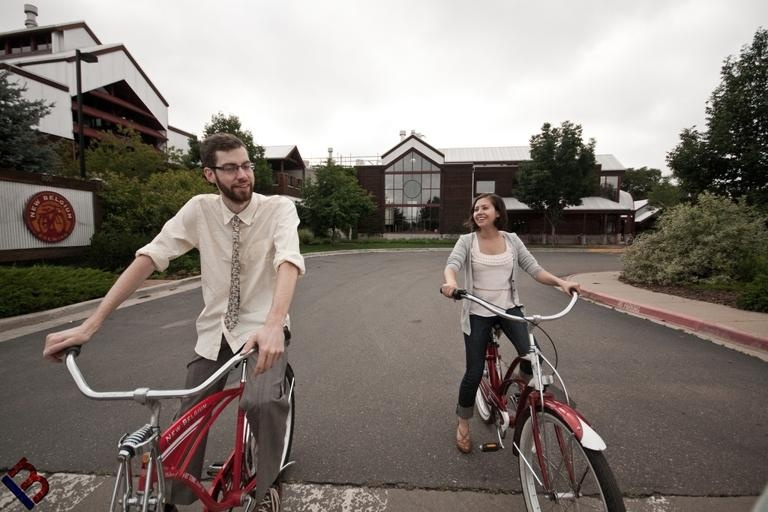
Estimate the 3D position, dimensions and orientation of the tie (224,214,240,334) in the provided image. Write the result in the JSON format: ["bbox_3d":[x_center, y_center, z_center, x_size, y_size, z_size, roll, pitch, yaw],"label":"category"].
[{"bbox_3d":[-1.839,0.199,6.068,0.182,1.400,0.074,1,-5,-9],"label":"tie"}]

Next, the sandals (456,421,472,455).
[{"bbox_3d":[1.122,2.517,7.050,0.160,0.133,0.480,-1,22,2],"label":"sandals"}]
